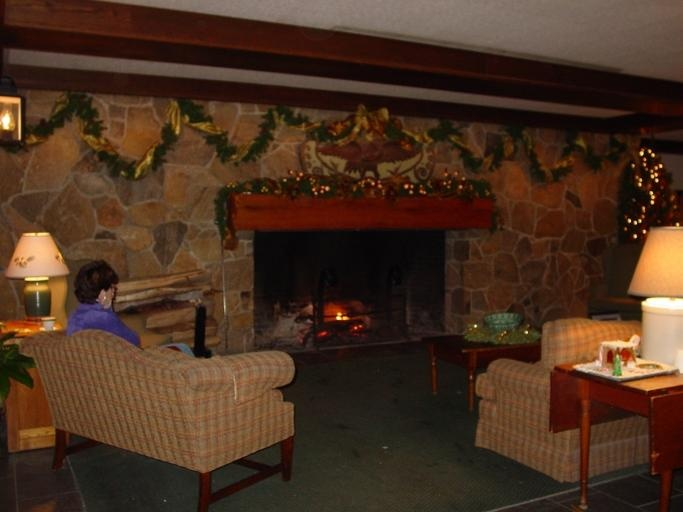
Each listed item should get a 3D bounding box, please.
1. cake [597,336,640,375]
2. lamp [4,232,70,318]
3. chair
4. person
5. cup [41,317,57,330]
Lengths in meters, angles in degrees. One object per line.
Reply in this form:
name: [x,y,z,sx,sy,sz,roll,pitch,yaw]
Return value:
cake: [1.785,0.636,3.480,0.267,0.185,0.182,0,-1,-26]
lamp: [-2.716,0.200,4.800,0.466,0.812,0.497,-5,9,-32]
chair: [1.569,0.937,4.264,1.268,1.156,1.138,-2,3,-26]
person: [-1.409,0.344,4.060,0.629,0.897,0.866,2,3,38]
cup: [-2.451,0.565,4.518,0.129,0.094,0.129,1,5,0]
